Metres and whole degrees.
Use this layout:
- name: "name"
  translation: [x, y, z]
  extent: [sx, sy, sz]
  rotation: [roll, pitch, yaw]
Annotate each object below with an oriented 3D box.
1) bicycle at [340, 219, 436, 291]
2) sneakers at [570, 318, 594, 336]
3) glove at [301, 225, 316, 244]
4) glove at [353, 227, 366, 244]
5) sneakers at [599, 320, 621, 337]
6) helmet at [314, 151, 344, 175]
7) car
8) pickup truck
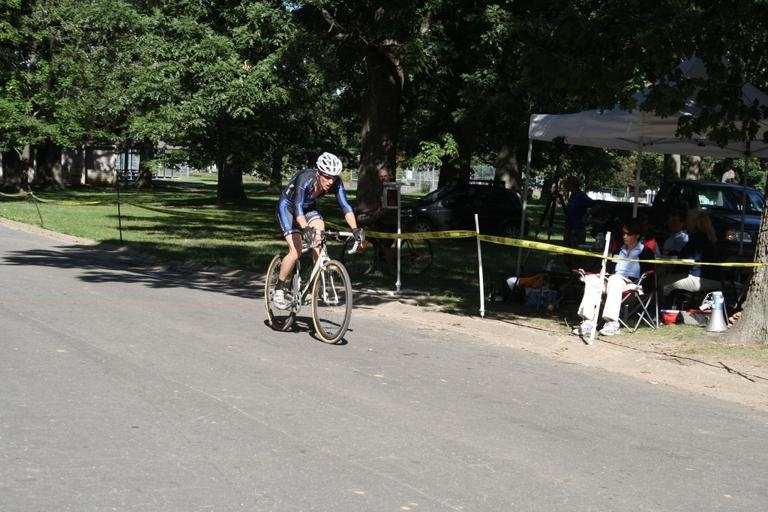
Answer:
- name: "bicycle"
  translation: [0.219, -0.047, 18.717]
  extent: [2.425, 1.267, 1.131]
  rotation: [2, 4, -2]
- name: "sneakers"
  translation: [3.136, 1.133, 12.647]
  extent: [0.395, 0.152, 0.154]
  rotation: [-2, 0, -39]
- name: "glove"
  translation: [-1.042, -0.294, 11.325]
  extent: [0.183, 0.220, 0.086]
  rotation: [1, 8, -1]
- name: "glove"
  translation: [-0.353, -0.298, 11.364]
  extent: [0.177, 0.194, 0.288]
  rotation: [3, 11, -2]
- name: "sneakers"
  translation: [3.621, 1.162, 12.958]
  extent: [0.409, 0.171, 0.161]
  rotation: [3, -4, -45]
- name: "helmet"
  translation: [-0.800, -1.276, 11.166]
  extent: [0.295, 0.364, 0.125]
  rotation: [-7, -37, -34]
- name: "car"
  translation: [2.700, -1.533, 27.403]
  extent: [3.585, 1.439, 1.955]
  rotation: [3, 2, -13]
- name: "pickup truck"
  translation: [7.304, -0.731, 19.705]
  extent: [2.843, 2.115, 5.505]
  rotation: [2, 2, -30]
